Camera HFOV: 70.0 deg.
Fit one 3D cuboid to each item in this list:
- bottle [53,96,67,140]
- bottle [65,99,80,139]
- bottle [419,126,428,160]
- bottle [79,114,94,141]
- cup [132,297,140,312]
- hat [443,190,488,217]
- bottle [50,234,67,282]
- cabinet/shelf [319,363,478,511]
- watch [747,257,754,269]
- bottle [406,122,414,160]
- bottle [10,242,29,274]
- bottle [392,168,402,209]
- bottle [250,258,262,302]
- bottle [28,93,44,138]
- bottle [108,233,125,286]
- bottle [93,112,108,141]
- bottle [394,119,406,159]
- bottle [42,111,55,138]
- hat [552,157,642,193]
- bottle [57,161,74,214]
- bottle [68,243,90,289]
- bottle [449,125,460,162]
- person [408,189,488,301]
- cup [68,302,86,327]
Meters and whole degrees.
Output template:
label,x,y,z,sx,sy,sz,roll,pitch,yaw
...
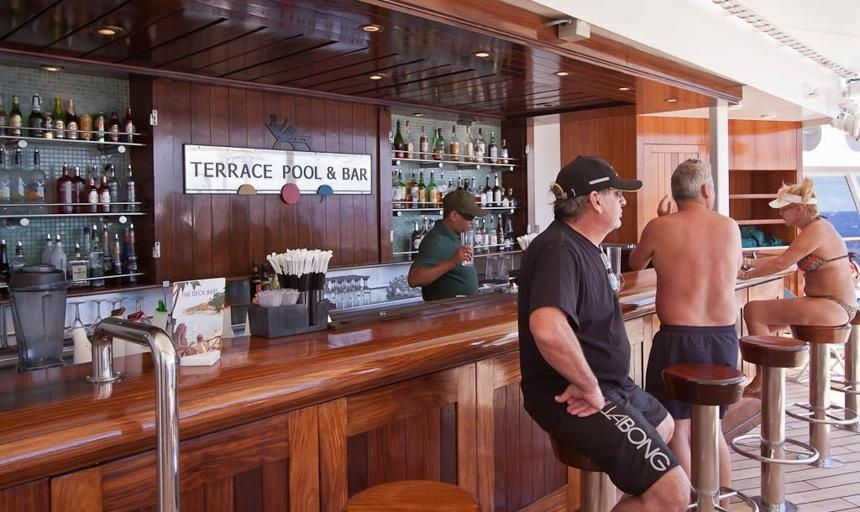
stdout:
label,x,y,z,sx,sy,sz,roll,pitch,yaw
bottle,-3.119,-1.190,5.185,0.098,0.362,0.327,-8,8,-30
bottle,-3.038,-1.181,5.238,0.110,0.364,0.283,-8,8,-28
bottle,-0.075,-1.353,7.292,0.121,0.392,0.318,-4,7,0
bottle,-2.944,-1.126,5.289,0.111,0.245,0.257,-8,8,-27
cup,-2.563,0.417,5.413,0.060,0.108,0.062,-4,7,0
hat,0.316,-0.458,5.370,0.338,0.153,0.207,-4,7,-28
bottle,-3.152,-0.023,5.232,0.118,0.321,0.344,-8,8,-31
cabinet/shelf,-0.211,1.011,3.410,0.521,0.800,0.945,-3,-4,42
watch,2.926,0.055,5.635,0.084,0.107,0.041,5,1,-39
bottle,-0.241,-1.382,7.194,0.087,0.464,0.249,-4,7,0
bottle,-3.452,-0.014,5.167,0.113,0.228,0.113,-4,7,0
bottle,-0.361,-0.797,7.160,0.155,0.446,0.343,-4,7,-2
bottle,-1.672,0.225,5.921,0.121,0.378,0.299,-6,7,-16
bottle,-3.248,-1.194,5.090,0.124,0.367,0.378,-8,8,-31
bottle,-2.771,0.049,5.536,0.122,0.449,0.113,-7,6,1
bottle,-2.867,-1.141,5.365,0.108,0.267,0.275,-7,8,-26
bottle,-0.357,-1.383,7.125,0.150,0.449,0.236,-4,7,-3
bottle,-3.176,-1.101,5.129,0.090,0.242,0.300,-8,8,-31
hat,0.963,-0.487,3.545,0.506,0.224,0.309,-8,8,7
bottle,-3.109,-0.586,5.248,0.136,0.418,0.271,-8,8,-29
bottle,-3.016,0.079,5.306,0.163,0.366,0.347,-8,8,-30
bottle,0.296,-1.405,7.542,0.125,0.447,0.401,-4,7,4
person,0.148,-0.071,5.155,0.643,0.950,0.884,-3,7,5
cup,-2.916,0.486,5.096,0.088,0.198,0.097,-4,7,0
